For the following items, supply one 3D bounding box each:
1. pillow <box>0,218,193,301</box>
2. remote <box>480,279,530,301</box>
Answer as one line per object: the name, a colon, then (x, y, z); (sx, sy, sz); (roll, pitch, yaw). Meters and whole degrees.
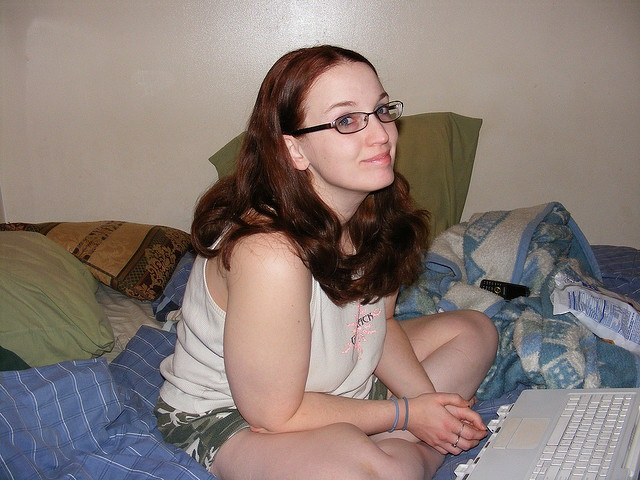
pillow: (-0.957, 0.047, 2.394); (0.543, 0.160, 0.488); (21, 28, 1)
remote: (0.690, 0.179, 1.944); (0.153, 0.028, 0.075); (9, 55, 25)
